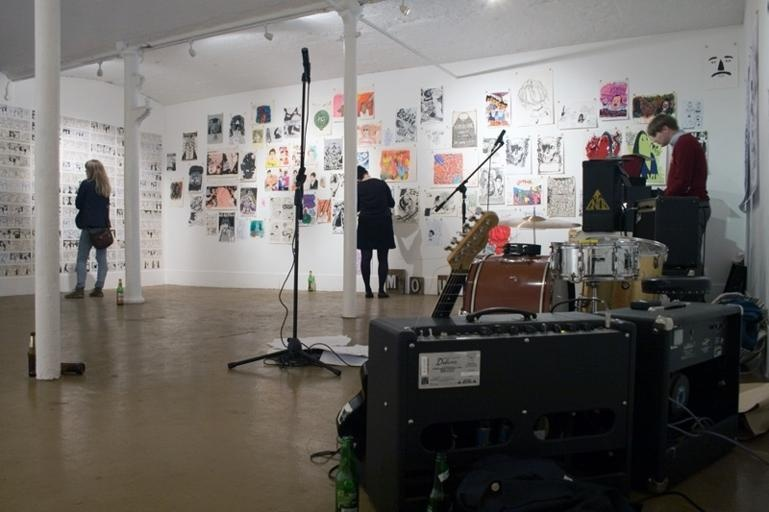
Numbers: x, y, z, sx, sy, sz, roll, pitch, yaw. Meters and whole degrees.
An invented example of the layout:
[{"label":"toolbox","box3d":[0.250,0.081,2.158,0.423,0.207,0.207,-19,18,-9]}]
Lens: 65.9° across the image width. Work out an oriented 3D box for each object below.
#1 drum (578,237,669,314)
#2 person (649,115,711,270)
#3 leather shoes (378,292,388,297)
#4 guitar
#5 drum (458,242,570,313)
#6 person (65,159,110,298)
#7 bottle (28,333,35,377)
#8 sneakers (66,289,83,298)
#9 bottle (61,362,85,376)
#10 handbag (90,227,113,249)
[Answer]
[{"label":"drum","box3d":[1.968,0.217,4.766,0.737,0.789,0.737,4,5,29]},{"label":"person","box3d":[3.203,-0.939,6.396,0.603,0.957,0.712,1,1,16]},{"label":"leather shoes","box3d":[0.003,0.597,9.330,0.180,0.060,0.126,-6,-17,3]},{"label":"guitar","box3d":[0.207,0.399,3.390,0.933,1.338,0.461,1,1,-5]},{"label":"drum","box3d":[1.133,0.210,5.078,0.730,0.747,0.563,5,-6,-42]},{"label":"person","box3d":[-4.760,-0.466,9.637,0.623,2.234,0.568,1,1,-24]},{"label":"bottle","box3d":[-2.873,0.792,4.840,0.046,0.345,0.240,0,1,-32]},{"label":"sneakers","box3d":[-4.910,0.589,9.411,0.257,0.129,0.399,0,2,-28]},{"label":"bottle","box3d":[-2.528,0.915,4.817,0.179,0.089,0.146,0,1,-22]},{"label":"handbag","box3d":[-4.589,-0.299,9.603,0.143,0.319,0.311,-2,7,43]}]
